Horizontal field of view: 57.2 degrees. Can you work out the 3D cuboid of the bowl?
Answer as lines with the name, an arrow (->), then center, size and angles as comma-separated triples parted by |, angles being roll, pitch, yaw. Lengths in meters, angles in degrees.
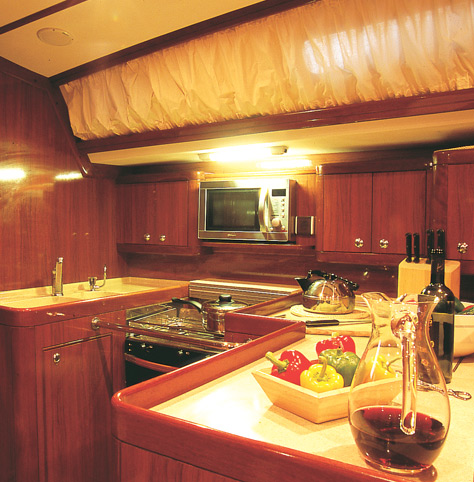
bowl -> 0.166, 0.274, 0.818 | 0.162, 0.047, 0.197 | -1, -1, -35

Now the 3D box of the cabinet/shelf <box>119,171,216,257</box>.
cabinet/shelf -> -0.519, -0.178, 3.229 | 0.752, 0.557, 0.283 | 2, 3, 31

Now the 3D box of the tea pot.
tea pot -> 0.393, 0.215, 1.919 | 0.239, 0.140, 0.179 | 1, 2, 28

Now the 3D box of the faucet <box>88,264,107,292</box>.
faucet -> -1.035, 0.278, 3.254 | 0.139, 0.175, 0.295 | -3, 1, -16

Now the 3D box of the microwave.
microwave -> 0.126, -0.190, 2.904 | 0.659, 0.383, 0.414 | 4, 3, 34

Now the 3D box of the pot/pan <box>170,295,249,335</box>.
pot/pan -> -0.173, 0.396, 2.367 | 0.351, 0.123, 0.191 | -2, -1, 43
